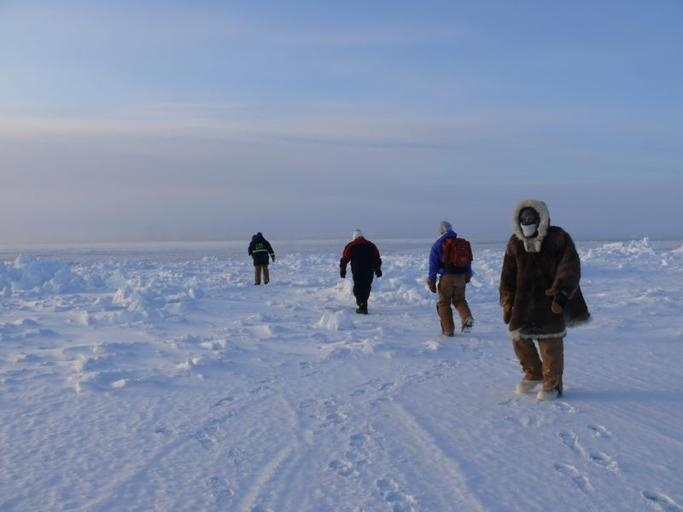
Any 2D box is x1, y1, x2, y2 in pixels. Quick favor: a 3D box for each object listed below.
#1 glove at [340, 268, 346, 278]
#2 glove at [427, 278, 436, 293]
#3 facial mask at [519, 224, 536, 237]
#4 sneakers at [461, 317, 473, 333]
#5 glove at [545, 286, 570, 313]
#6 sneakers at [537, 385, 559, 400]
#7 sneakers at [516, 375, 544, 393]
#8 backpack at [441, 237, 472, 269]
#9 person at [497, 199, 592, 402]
[{"bbox_3d":[0.026,0.328,15.857,0.100,0.171,0.041,-1,5,-7],"label":"glove"},{"bbox_3d":[1.500,0.465,13.516,0.154,0.272,0.317,0,14,5],"label":"glove"},{"bbox_3d":[2.196,-0.301,9.670,0.133,0.142,0.156,6,11,29],"label":"facial mask"},{"bbox_3d":[2.057,1.136,13.437,0.172,0.320,0.238,1,14,8],"label":"sneakers"},{"bbox_3d":[2.496,0.528,9.513,0.242,0.356,0.311,2,15,14],"label":"glove"},{"bbox_3d":[2.453,1.615,9.631,0.337,0.218,0.111,4,-9,-17],"label":"sneakers"},{"bbox_3d":[2.316,1.555,9.998,0.399,0.175,0.131,-9,5,-33],"label":"sneakers"},{"bbox_3d":[1.828,-0.040,13.238,0.494,0.637,0.613,0,-2,-12],"label":"backpack"},{"bbox_3d":[2.323,0.506,9.760,0.583,2.294,0.927,-14,19,-42],"label":"person"}]
